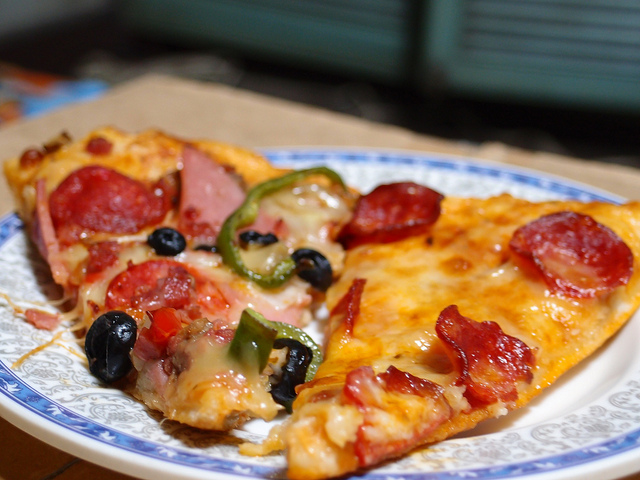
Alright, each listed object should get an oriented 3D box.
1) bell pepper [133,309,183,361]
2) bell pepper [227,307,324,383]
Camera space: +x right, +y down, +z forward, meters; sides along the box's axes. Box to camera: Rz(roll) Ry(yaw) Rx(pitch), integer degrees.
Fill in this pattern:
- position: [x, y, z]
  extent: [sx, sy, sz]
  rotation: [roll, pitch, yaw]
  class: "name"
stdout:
- position: [-0.549, 0.331, 2.293]
  extent: [0.146, 0.176, 0.073]
  rotation: [26, 3, 15]
  class: "bell pepper"
- position: [-0.169, 0.380, 2.308]
  extent: [0.320, 0.143, 0.205]
  rotation: [11, 25, 8]
  class: "bell pepper"
